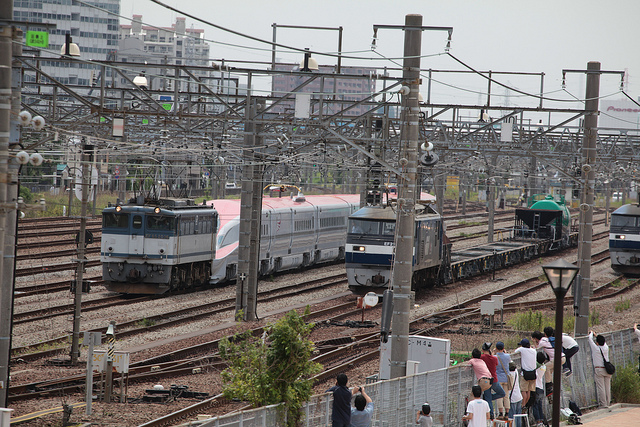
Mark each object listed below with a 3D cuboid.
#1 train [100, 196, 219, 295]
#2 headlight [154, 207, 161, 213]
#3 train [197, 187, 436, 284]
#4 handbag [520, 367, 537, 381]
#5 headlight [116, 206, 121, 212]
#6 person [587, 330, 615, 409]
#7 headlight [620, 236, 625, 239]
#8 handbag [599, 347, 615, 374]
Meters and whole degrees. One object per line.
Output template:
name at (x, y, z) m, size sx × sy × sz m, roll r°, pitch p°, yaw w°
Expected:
train at (-7.622, 1.363, 49.607) m, size 3.461 × 4.187 × 8.091 m, roll 2°, pitch 0°, yaw 8°
headlight at (-7.248, -0.169, 45.742) m, size 0.271 × 0.260 × 0.064 m, roll 0°, pitch 0°, yaw -3°
train at (-0.290, 1.177, 48.522) m, size 4.072 × 4.732 × 17.425 m, roll 2°, pitch 0°, yaw 36°
handbag at (6.225, 4.759, 30.377) m, size 0.348 × 0.429 × 0.189 m, roll -3°, pitch 1°, yaw -6°
headlight at (-9.015, -0.216, 45.966) m, size 0.227 × 0.218 × 0.053 m, roll 0°, pitch -6°, yaw -1°
person at (9.207, 5.095, 33.481) m, size 1.021 × 2.264 × 0.779 m, roll -4°, pitch 1°, yaw 23°
headlight at (16.143, 1.234, 54.632) m, size 0.225 × 0.108 × 0.096 m, roll 2°, pitch 1°, yaw 15°
handbag at (9.299, 4.762, 33.096) m, size 0.508 × 0.727 × 0.296 m, roll 2°, pitch 1°, yaw 6°
